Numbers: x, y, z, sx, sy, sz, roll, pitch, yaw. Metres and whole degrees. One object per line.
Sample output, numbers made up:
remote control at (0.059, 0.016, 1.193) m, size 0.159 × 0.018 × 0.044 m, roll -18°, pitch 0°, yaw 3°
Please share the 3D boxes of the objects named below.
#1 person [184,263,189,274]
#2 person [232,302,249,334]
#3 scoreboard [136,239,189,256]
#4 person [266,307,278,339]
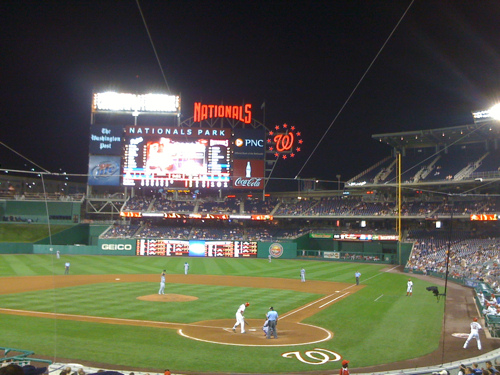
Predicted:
person at (-7.606, 9.545, 59.976) m, size 0.402 × 1.262 × 1.850 m, roll 4°, pitch -8°, yaw -6°
person at (-0.721, 9.198, 35.910) m, size 0.894 × 2.065 × 1.497 m, roll 4°, pitch -8°, yaw -2°
scoreboard at (-13.875, 9.202, 78.553) m, size 7.890 × 2.641 × 1.532 m, roll 2°, pitch -8°, yaw 11°
person at (1.555, 9.299, 34.847) m, size 0.950 × 2.104 × 0.695 m, roll 9°, pitch -9°, yaw -33°
